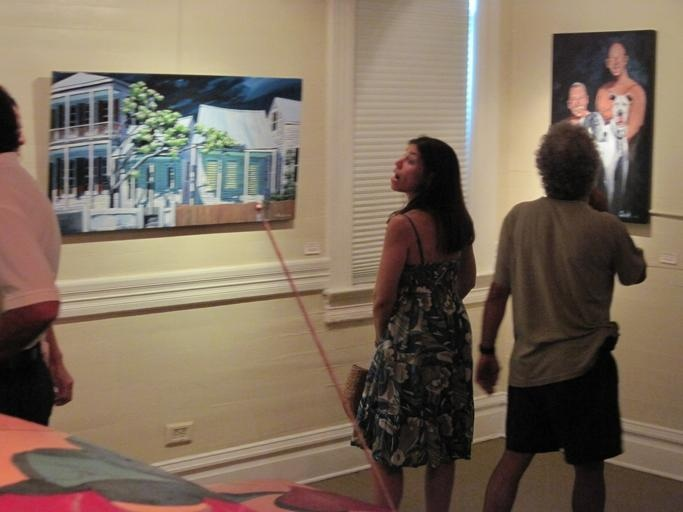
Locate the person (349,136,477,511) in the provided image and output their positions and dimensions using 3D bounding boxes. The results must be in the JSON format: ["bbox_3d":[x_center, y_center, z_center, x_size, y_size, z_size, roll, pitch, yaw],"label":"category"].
[{"bbox_3d":[0.199,0.171,1.508,0.263,0.953,0.334,3,13,25],"label":"person"}]

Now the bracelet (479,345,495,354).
[{"bbox_3d":[0.413,0.266,1.617,0.030,0.020,0.030,3,3,32],"label":"bracelet"}]
